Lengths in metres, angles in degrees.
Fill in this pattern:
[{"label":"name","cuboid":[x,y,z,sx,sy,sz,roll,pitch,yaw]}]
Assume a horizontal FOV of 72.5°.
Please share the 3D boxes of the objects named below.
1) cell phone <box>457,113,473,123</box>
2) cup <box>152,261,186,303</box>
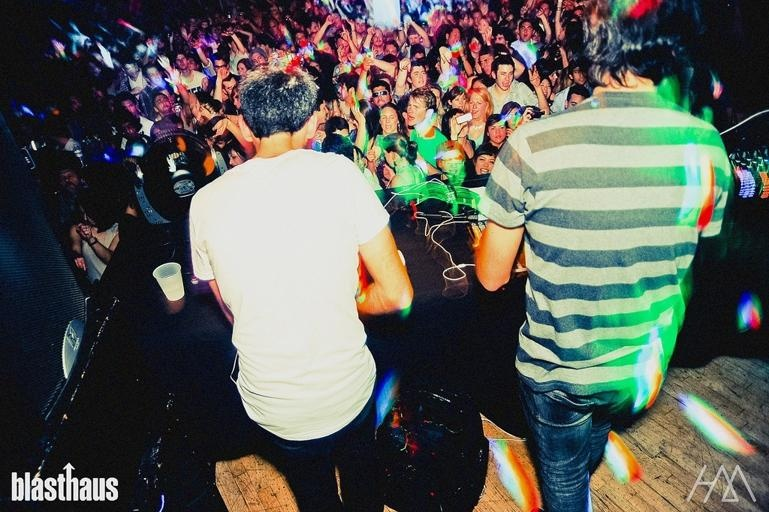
[{"label":"cell phone","cuboid":[0.747,-1.293,4.910,0.125,0.091,0.216,-3,19,14]},{"label":"cup","cuboid":[-1.283,0.152,3.144,0.151,0.206,0.172,-15,19,-21]}]
